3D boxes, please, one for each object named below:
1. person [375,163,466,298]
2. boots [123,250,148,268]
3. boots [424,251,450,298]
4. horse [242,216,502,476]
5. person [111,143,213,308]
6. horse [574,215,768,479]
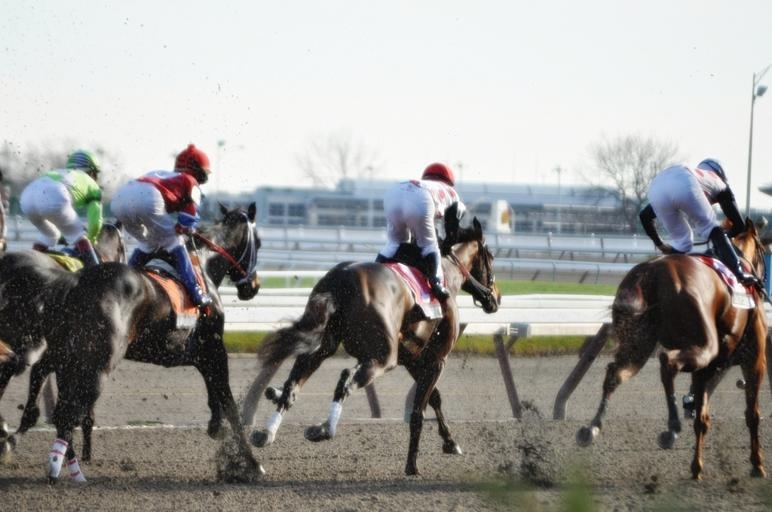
[{"bbox_3d":[0.405,-0.238,12.924,0.608,1.446,1.035,-8,-20,37],"label":"person"},{"bbox_3d":[-2.187,0.020,12.227,0.125,0.183,0.055,13,-9,36],"label":"boots"},{"bbox_3d":[0.446,0.182,12.411,0.132,0.122,0.384,-19,40,-5],"label":"boots"},{"bbox_3d":[-0.015,0.660,12.318,0.789,2.166,2.984,8,1,43],"label":"horse"},{"bbox_3d":[-1.920,-0.278,12.352,0.690,1.410,0.964,1,1,44],"label":"person"},{"bbox_3d":[2.781,0.827,12.540,2.043,2.158,1.060,-4,7,-28],"label":"horse"}]
